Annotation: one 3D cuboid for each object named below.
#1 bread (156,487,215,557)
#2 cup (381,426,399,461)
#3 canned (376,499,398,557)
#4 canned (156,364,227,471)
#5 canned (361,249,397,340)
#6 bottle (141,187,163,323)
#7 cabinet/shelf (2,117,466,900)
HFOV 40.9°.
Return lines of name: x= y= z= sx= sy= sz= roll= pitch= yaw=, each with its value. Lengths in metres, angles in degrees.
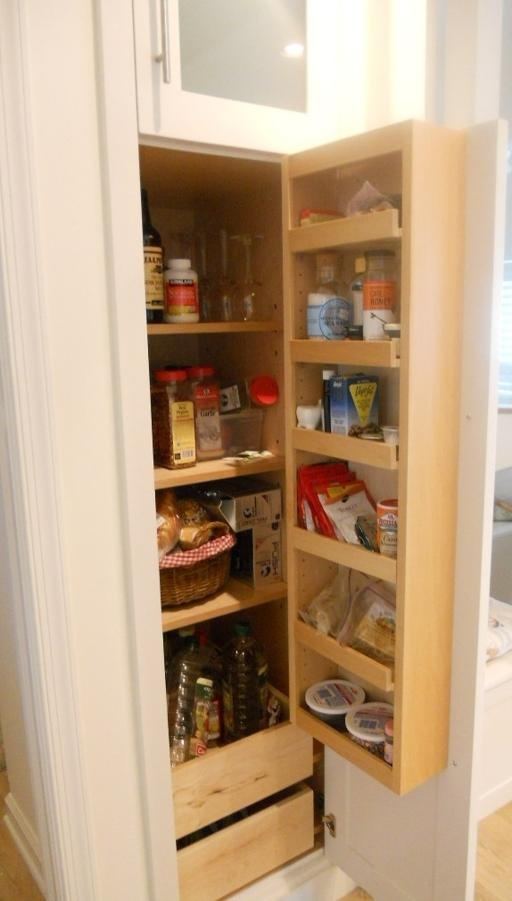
bread: x=-0.153 y=0.139 z=1.358 sx=0.085 sy=0.052 sz=0.122 roll=-2 pitch=26 yaw=11
cup: x=0.209 y=-0.011 z=1.063 sx=0.020 sy=0.046 sz=0.057 roll=-3 pitch=13 yaw=8
canned: x=0.209 y=0.124 z=1.101 sx=0.032 sy=0.082 sz=0.079 roll=-2 pitch=13 yaw=9
canned: x=-0.138 y=-0.061 z=1.413 sx=0.153 sy=0.247 sz=0.124 roll=-9 pitch=15 yaw=-38
canned: x=0.197 y=-0.251 z=1.102 sx=0.057 sy=0.137 sz=0.099 roll=-2 pitch=13 yaw=10
bottle: x=-0.201 y=-0.376 z=1.315 sx=0.040 sy=0.257 sz=0.161 roll=-5 pitch=12 yaw=-5
cabinet/shelf: x=-0.024 y=0.196 z=1.374 sx=0.496 sy=1.475 sz=0.817 roll=-10 pitch=13 yaw=-26
